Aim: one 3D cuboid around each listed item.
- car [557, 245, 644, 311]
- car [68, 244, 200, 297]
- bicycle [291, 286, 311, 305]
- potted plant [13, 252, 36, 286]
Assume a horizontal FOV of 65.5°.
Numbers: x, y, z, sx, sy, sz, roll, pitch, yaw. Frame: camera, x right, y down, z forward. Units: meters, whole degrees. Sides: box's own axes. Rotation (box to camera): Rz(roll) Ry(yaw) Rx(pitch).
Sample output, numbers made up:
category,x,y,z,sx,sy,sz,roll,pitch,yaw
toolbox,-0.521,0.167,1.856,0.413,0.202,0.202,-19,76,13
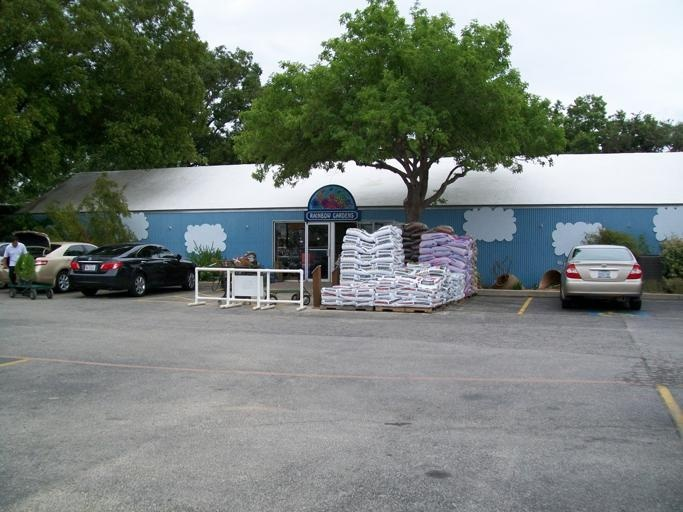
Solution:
category,x,y,z,sx,sy,sz,roll,pitch,yaw
car,7.252,0.556,14.751,1.362,1.193,2.721,0,3,14
car,-7.479,0.507,19.528,1.837,1.438,4.309,-2,0,28
bicycle,-1.338,1.398,17.719,0.616,0.415,0.400,-1,-1,13
potted plant,-11.038,0.456,18.357,0.600,1.047,0.579,-1,1,-28
